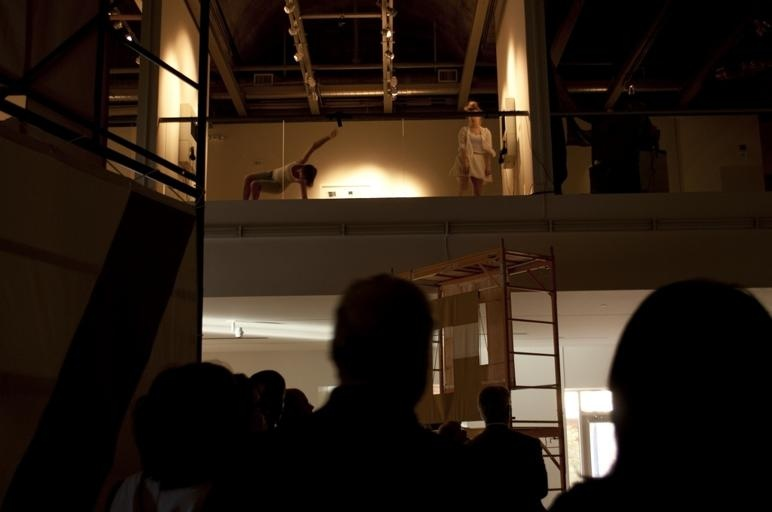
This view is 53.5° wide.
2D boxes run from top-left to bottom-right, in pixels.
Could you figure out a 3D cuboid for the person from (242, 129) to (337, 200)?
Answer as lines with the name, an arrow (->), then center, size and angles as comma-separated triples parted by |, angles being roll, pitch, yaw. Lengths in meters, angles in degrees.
person -> -1.413, -1.295, 10.663 | 0.906, 0.689, 0.252 | -15, -14, 13
